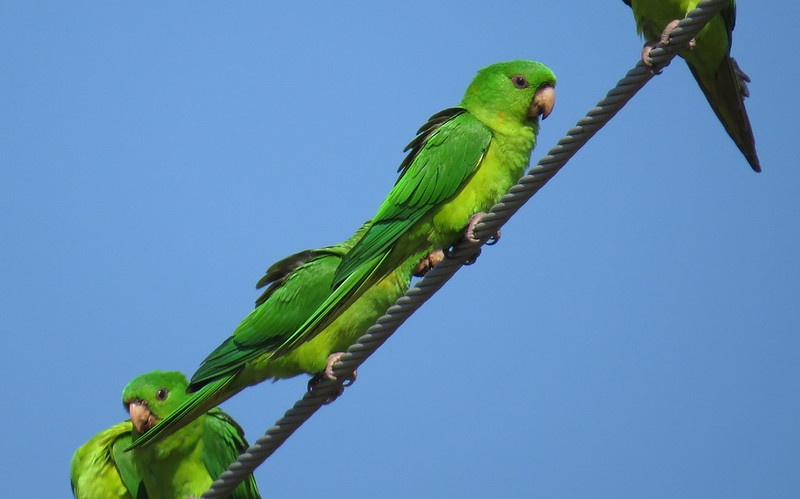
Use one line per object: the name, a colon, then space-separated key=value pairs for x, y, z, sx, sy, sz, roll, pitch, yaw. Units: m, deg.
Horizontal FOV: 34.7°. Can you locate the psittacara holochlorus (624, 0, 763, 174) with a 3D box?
psittacara holochlorus: x=1.601 y=-1.007 z=6.898 sx=0.383 sy=0.557 sz=1.318 roll=-17 pitch=-79 yaw=3
